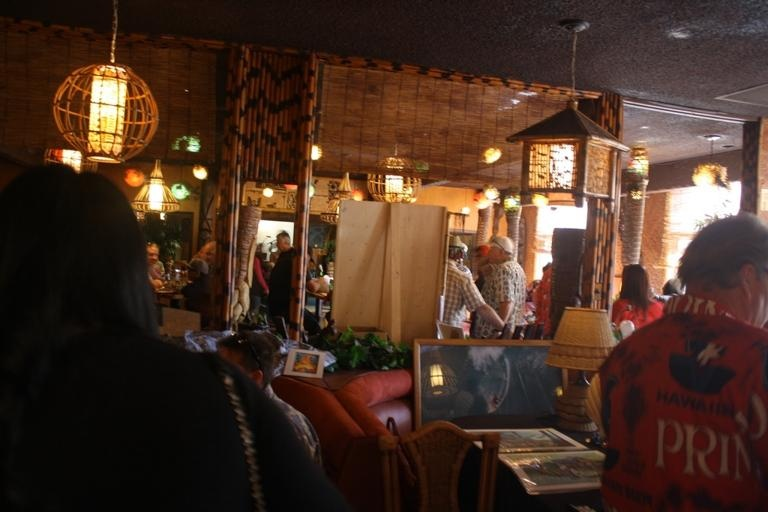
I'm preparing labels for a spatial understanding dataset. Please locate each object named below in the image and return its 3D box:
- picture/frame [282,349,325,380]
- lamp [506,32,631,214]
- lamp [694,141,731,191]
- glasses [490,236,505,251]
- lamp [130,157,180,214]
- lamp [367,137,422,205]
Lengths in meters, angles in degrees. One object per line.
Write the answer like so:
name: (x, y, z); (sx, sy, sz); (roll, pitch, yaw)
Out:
picture/frame: (-0.473, 0.646, 3.656); (0.251, 0.202, 0.016); (8, -42, 2)
lamp: (1.173, -0.868, 3.838); (0.759, 1.066, 0.741); (1, 4, -25)
lamp: (4.384, -1.214, 8.214); (0.399, 0.679, 1.285); (5, 3, 27)
glasses: (1.051, -0.117, 5.675); (0.131, 0.065, 0.096); (20, 13, 7)
lamp: (-3.301, -1.034, 8.972); (0.719, 0.747, 0.728); (2, 0, 24)
lamp: (0.078, -0.874, 6.518); (0.530, 0.608, 0.521); (2, 3, 14)
